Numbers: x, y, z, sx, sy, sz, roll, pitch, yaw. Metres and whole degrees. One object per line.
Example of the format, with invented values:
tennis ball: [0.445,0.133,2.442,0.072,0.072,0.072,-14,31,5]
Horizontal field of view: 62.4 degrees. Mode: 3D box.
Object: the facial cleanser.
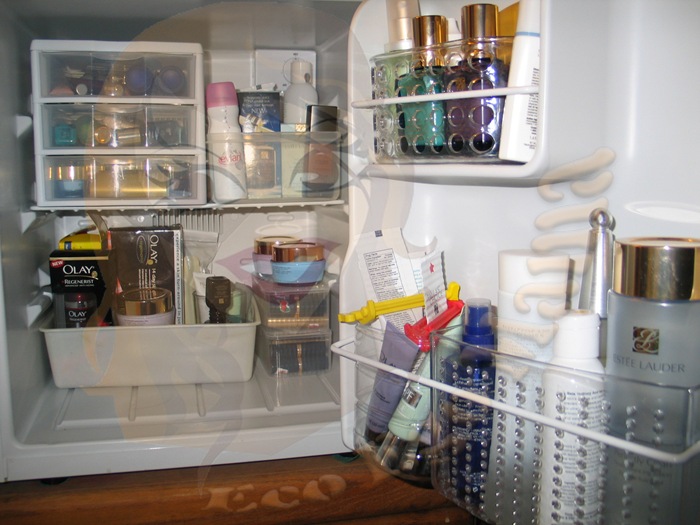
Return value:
facial cleanser: [0.050,0.157,0.748,0.057,0.144,0.078,-2,17,-4]
